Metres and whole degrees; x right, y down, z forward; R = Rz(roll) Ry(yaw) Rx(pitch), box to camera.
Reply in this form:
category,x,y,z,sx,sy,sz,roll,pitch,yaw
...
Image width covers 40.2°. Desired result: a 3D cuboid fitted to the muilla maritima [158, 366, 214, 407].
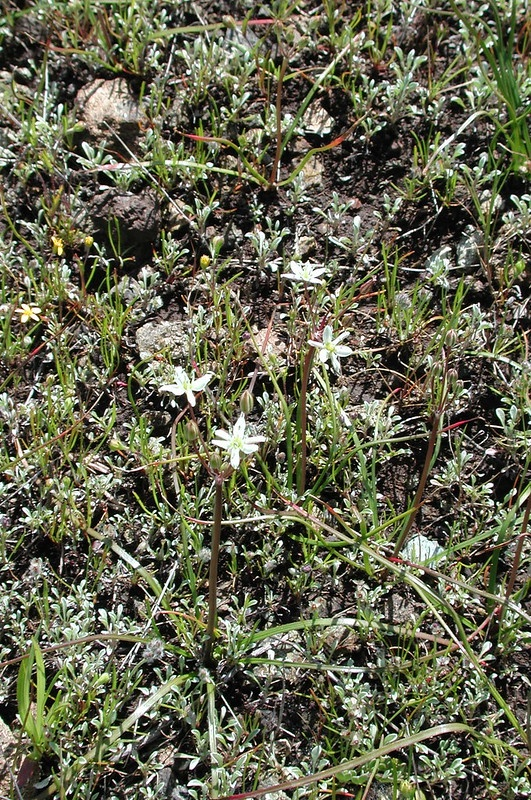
category,x,y,z,sx,sy,sz,roll,pitch,yaw
muilla maritima,-0.247,-0.044,2.223,0.104,0.047,0.103,-37,44,-21
